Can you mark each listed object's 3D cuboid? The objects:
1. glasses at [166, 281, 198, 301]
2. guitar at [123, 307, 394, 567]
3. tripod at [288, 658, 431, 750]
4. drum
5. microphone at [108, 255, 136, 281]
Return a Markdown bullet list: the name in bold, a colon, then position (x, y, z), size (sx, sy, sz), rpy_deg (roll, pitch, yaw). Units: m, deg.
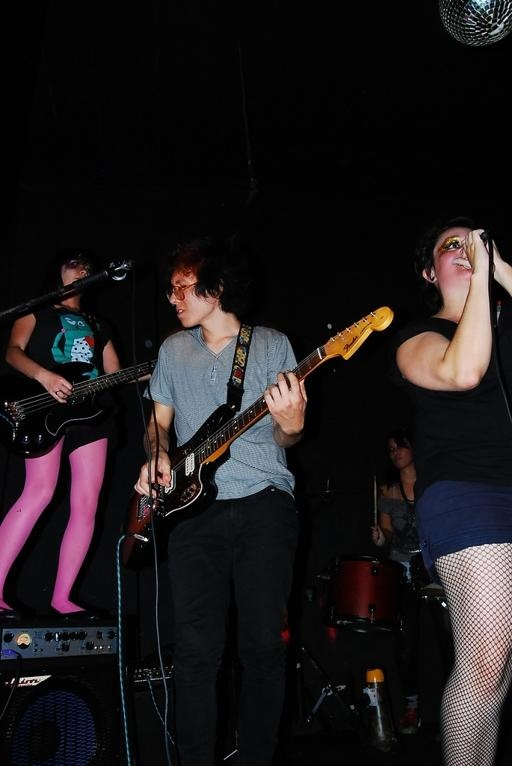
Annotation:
- **glasses**: position (-0.295, -0.360, 2.613), size (0.082, 0.026, 0.078), rpy_deg (-9, 0, -38)
- **guitar**: position (0.012, 0.275, 3.073), size (1.887, 0.553, 0.275), rpy_deg (-42, -50, 21)
- **tripod**: position (0.411, 1.675, 3.486), size (0.513, 0.483, 0.183), rpy_deg (-1, -17, 4)
- **drum**: position (0.557, 1.101, 3.509), size (0.410, 0.342, 0.391), rpy_deg (13, -31, -8)
- **microphone**: position (-0.539, -0.456, 2.696), size (0.072, 0.035, 0.098), rpy_deg (-3, -11, -39)
